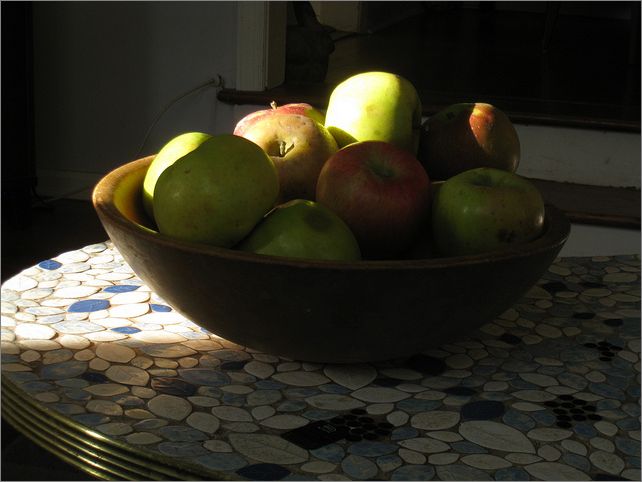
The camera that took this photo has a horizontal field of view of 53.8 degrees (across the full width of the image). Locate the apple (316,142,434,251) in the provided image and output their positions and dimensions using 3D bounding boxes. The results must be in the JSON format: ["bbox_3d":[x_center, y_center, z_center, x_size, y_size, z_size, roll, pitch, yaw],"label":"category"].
[{"bbox_3d":[0.053,-0.032,0.674,0.117,0.090,0.116,-3,2,38],"label":"apple"}]

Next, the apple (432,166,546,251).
[{"bbox_3d":[0.157,-0.034,0.617,0.101,0.076,0.089,1,10,6],"label":"apple"}]

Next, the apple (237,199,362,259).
[{"bbox_3d":[-0.017,-0.005,0.578,0.073,0.060,0.071,13,19,21],"label":"apple"}]

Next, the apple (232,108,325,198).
[{"bbox_3d":[-0.016,-0.107,0.714,0.128,0.104,0.111,1,21,5],"label":"apple"}]

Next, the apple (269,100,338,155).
[{"bbox_3d":[-0.045,-0.136,0.794,0.082,0.070,0.082,0,6,41],"label":"apple"}]

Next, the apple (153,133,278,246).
[{"bbox_3d":[-0.084,-0.052,0.633,0.106,0.067,0.110,-18,15,15],"label":"apple"}]

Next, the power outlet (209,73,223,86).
[{"bbox_3d":[-0.408,-0.634,2.522,0.048,0.053,0.008,3,15,8],"label":"power outlet"}]

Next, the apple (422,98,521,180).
[{"bbox_3d":[0.189,-0.122,0.781,0.095,0.074,0.086,-3,12,-26],"label":"apple"}]

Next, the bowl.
[{"bbox_3d":[-0.012,0.017,0.624,0.472,0.160,0.263,5,13,17],"label":"bowl"}]

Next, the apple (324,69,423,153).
[{"bbox_3d":[0.069,-0.149,0.823,0.123,0.104,0.104,10,51,12],"label":"apple"}]
